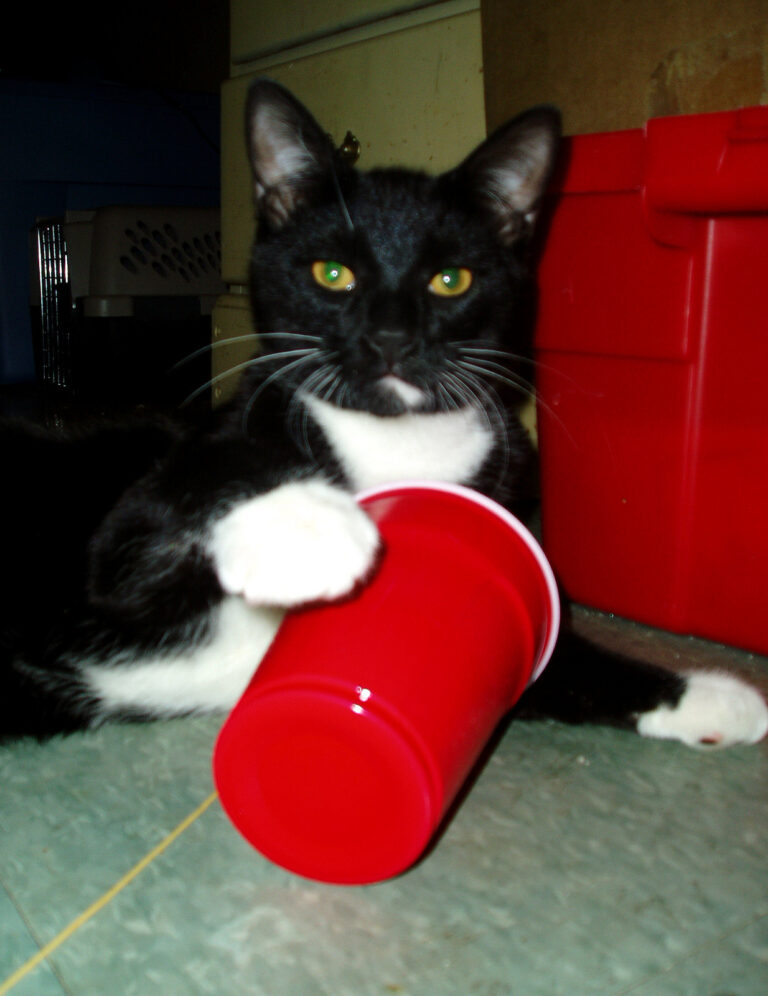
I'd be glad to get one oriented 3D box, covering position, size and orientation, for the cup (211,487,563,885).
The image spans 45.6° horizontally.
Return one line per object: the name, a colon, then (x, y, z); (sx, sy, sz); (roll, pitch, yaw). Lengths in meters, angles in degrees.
cup: (0.019, 0.128, 0.731); (0.162, 0.262, 0.305); (8, 11, 26)
